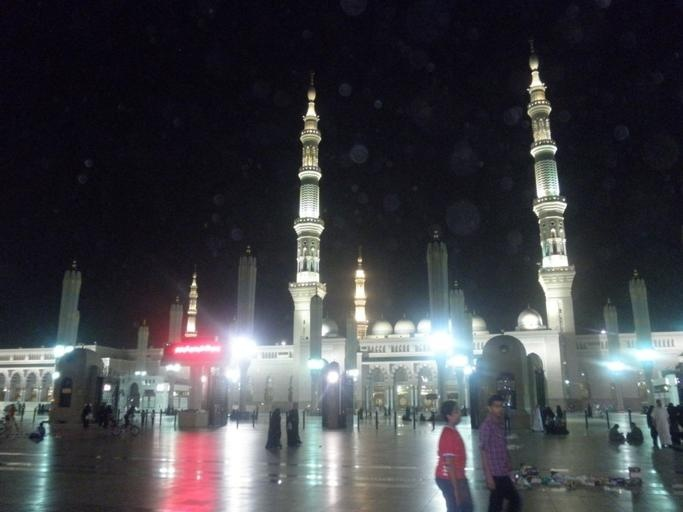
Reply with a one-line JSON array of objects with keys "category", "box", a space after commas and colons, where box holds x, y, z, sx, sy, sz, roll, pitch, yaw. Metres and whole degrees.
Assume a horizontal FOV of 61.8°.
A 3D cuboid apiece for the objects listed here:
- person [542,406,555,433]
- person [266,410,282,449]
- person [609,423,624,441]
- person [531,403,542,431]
[{"category": "person", "box": [10.263, 8.209, 28.542, 0.539, 1.296, 2.487, -6, -16, 18]}, {"category": "person", "box": [-2.737, 6.868, 22.626, 0.603, 1.555, 1.119, 1, -15, -8]}, {"category": "person", "box": [11.561, 7.552, 24.221, 0.587, 0.720, 1.047, -8, -17, 24]}, {"category": "person", "box": [10.063, 8.515, 29.706, 0.554, 1.259, 1.448, -6, -16, 16]}]
